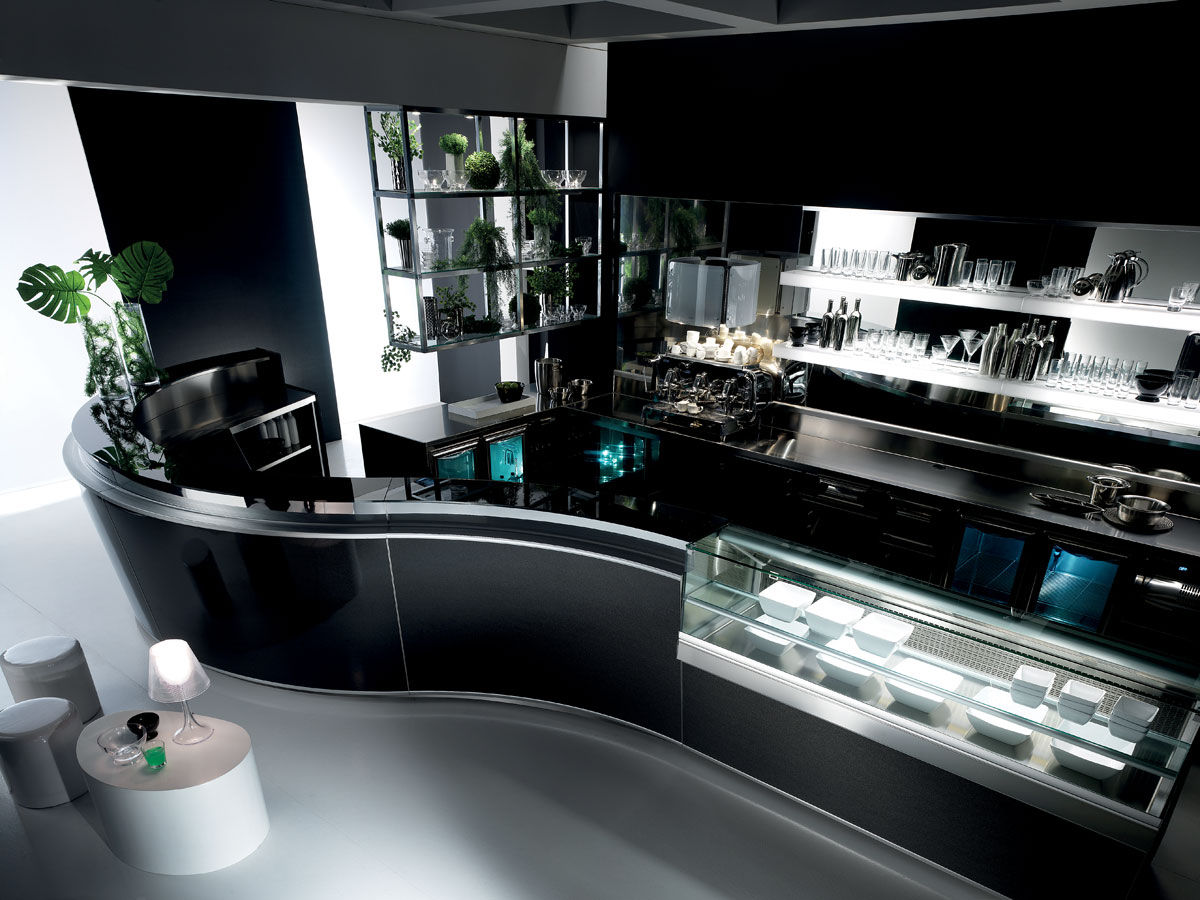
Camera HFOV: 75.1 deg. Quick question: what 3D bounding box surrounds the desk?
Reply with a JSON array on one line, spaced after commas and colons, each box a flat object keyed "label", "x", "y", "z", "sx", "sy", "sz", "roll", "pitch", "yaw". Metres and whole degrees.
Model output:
[{"label": "desk", "x": -2.064, "y": 1.666, "z": 3.782, "sx": 0.845, "sy": 0.542, "sz": 0.467, "roll": 3, "pitch": 19, "yaw": 11}]

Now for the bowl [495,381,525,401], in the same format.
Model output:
[{"label": "bowl", "x": -0.743, "y": -0.484, "z": 6.408, "sx": 0.176, "sy": 0.103, "sz": 0.170, "roll": 0, "pitch": 11, "yaw": 0}]

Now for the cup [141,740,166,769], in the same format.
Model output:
[{"label": "cup", "x": -2.078, "y": 1.434, "z": 3.690, "sx": 0.107, "sy": 0.118, "sz": 0.105, "roll": 0, "pitch": 3, "yaw": 0}]

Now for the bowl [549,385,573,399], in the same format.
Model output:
[{"label": "bowl", "x": -0.316, "y": -0.492, "z": 6.579, "sx": 0.112, "sy": 0.066, "sz": 0.165, "roll": 11, "pitch": 16, "yaw": 37}]

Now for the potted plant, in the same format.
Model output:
[{"label": "potted plant", "x": -3.449, "y": -0.865, "z": 5.834, "sx": 1.034, "sy": 1.168, "sz": 0.766, "roll": -15, "pitch": -9, "yaw": 13}]

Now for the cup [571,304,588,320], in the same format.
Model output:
[{"label": "cup", "x": -0.171, "y": -1.138, "z": 6.427, "sx": 0.156, "sy": 0.120, "sz": 0.151, "roll": 2, "pitch": 17, "yaw": -1}]

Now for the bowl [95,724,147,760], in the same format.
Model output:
[{"label": "bowl", "x": -2.317, "y": 1.408, "z": 3.756, "sx": 0.187, "sy": 0.069, "sz": 0.187, "roll": 4, "pitch": 18, "yaw": -1}]

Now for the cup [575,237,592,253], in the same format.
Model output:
[{"label": "cup", "x": -0.123, "y": -1.644, "z": 6.293, "sx": 0.143, "sy": 0.114, "sz": 0.138, "roll": 1, "pitch": 12, "yaw": 0}]

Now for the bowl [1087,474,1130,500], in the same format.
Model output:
[{"label": "bowl", "x": 3.113, "y": 0.235, "z": 4.768, "sx": 0.168, "sy": 0.112, "sz": 0.170, "roll": -1, "pitch": 14, "yaw": 0}]

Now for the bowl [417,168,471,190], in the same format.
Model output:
[{"label": "bowl", "x": -1.062, "y": -1.814, "z": 5.208, "sx": 0.214, "sy": 0.072, "sz": 0.213, "roll": 0, "pitch": 10, "yaw": 0}]
